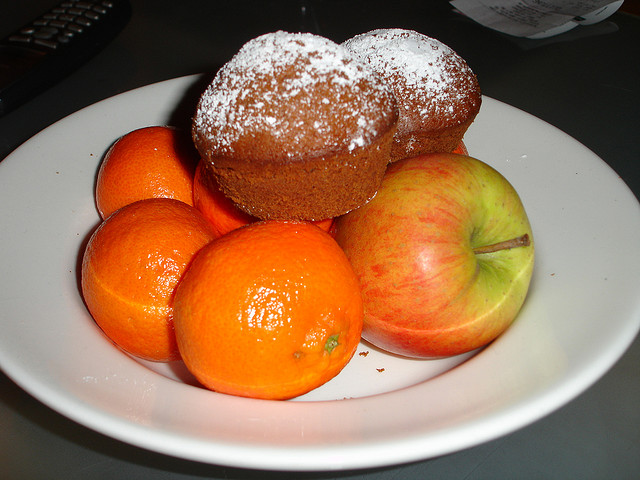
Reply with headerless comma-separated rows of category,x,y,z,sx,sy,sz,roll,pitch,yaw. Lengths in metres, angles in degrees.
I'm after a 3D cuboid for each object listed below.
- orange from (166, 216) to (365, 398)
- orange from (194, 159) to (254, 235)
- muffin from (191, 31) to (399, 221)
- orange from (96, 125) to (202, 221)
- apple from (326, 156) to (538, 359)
orange,-0.078,0.106,0.921,0.255,0.318,0.260,-6,104,-33
orange,-0.168,-0.078,1.016,0.134,0.135,0.136,0,82,-16
muffin,-0.045,-0.162,0.858,0.263,0.259,0.200,-14,33,-20
orange,-0.275,-0.081,1.050,0.152,0.154,0.185,-3,52,1
apple,0.151,0.036,1.025,0.298,0.365,0.313,24,96,-10
